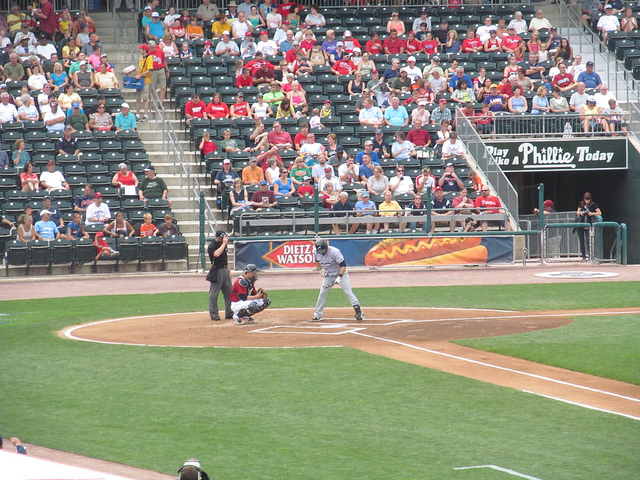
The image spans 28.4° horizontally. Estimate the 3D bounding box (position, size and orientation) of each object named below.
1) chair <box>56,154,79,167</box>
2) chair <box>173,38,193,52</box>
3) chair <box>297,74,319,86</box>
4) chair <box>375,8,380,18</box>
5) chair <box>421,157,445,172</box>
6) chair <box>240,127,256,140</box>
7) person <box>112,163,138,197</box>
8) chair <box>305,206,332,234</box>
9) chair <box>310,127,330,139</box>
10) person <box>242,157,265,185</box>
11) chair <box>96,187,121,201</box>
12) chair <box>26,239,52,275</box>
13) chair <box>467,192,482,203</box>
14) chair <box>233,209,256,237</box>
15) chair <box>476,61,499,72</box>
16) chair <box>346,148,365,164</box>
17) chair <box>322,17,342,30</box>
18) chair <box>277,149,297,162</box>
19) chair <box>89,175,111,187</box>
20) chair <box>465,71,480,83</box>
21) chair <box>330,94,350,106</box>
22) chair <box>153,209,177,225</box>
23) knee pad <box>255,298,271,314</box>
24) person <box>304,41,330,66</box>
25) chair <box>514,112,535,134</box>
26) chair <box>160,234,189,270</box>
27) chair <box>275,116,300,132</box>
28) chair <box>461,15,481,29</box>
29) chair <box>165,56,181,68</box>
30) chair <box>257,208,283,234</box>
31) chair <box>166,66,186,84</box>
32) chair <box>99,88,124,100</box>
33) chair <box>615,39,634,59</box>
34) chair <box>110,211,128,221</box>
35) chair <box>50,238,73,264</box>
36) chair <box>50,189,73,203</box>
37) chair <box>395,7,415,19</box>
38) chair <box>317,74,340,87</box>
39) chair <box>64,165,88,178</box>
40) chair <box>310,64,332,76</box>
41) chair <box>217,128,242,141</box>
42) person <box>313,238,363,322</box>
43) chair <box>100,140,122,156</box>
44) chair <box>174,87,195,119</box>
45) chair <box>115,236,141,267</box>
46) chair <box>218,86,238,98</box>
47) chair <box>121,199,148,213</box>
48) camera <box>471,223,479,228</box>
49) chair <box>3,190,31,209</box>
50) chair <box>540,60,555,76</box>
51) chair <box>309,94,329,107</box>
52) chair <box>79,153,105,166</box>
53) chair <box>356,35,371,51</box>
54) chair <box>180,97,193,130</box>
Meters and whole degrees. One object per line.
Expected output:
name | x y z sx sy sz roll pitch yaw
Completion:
chair | -8.392 -2.656 42.131 0.722 0.529 0.405 -1 5 -22
chair | -5.271 -7.443 48.916 0.606 0.702 0.583 1 44 -3
chair | -0.445 -5.924 47.256 0.615 0.561 0.492 -1 0 -1
chair | 2.419 -9.440 52.699 0.188 0.367 0.278 -4 1 8
chair | 3.915 -2.642 43.497 0.814 0.613 0.402 0 4 -2
chair | -2.477 -3.754 44.150 0.620 0.556 0.395 0 -5 -3
person | -6.433 -1.982 41.867 0.839 1.090 0.525 -4 1 -12
chair | -0.047 -0.686 41.339 0.958 1.141 0.866 1 -5 -3
chair | 0.046 -3.785 44.292 0.682 0.443 0.373 0 -1 -4
person | -2.249 -2.330 42.264 1.042 1.156 0.809 0 6 -12
chair | -6.897 -1.538 41.534 0.649 0.574 0.472 0 9 -7
chair | -8.758 0.359 39.581 0.731 0.986 0.337 -4 1 -16
chair | 5.147 -1.439 42.034 0.349 0.385 0.309 2 -2 10
chair | -2.551 -0.569 40.934 0.897 1.026 0.823 0 5 -7
chair | 6.468 -6.623 48.535 0.574 0.373 0.345 0 -5 0
chair | 1.229 -2.965 43.854 0.468 0.416 0.351 -1 -2 1
chair | 0.548 -8.807 51.531 0.555 0.652 0.579 -1 -5 1
chair | -1.075 -2.906 43.164 0.593 0.390 0.405 1 13 -1
chair | -7.267 -1.953 41.887 0.764 0.516 0.375 0 2 -21
chair | 5.827 -6.200 48.000 0.470 0.381 0.649 -3 0 7
chair | 0.754 -5.127 46.396 0.711 0.507 0.371 -1 9 -4
chair | -5.062 -0.788 41.334 0.683 0.599 0.491 0 3 -16
knee pad | -1.399 1.660 32.654 0.301 0.117 0.233 -42 -9 10
person | -0.036 -7.111 48.419 0.904 0.983 0.423 0 -9 -7
chair | 7.271 -4.124 44.830 0.836 0.788 0.454 2 25 5
chair | -4.598 0.417 40.876 1.018 1.163 0.971 7 -1 6
chair | -1.130 -4.080 44.629 0.574 0.604 0.470 -1 3 -8
chair | 6.298 -9.055 52.379 0.689 0.625 0.528 -1 -2 -1
chair | -5.543 -6.685 47.563 0.431 0.501 0.442 -4 10 -29
chair | -1.604 -0.650 40.983 0.847 1.010 0.818 0 0 -5
chair | -5.297 -6.111 47.036 0.674 0.841 0.647 -1 12 -10
chair | -7.469 -5.235 45.153 0.522 0.544 0.474 -2 6 -22
chair | 12.087 -7.445 49.530 0.694 0.883 0.797 0 7 10
chair | -6.528 -0.803 41.173 0.426 0.291 0.396 2 -19 -13
chair | -8.105 0.338 39.744 0.745 0.813 0.777 -1 5 -18
chair | -8.404 -1.472 41.065 0.502 0.448 0.472 0 12 -9
chair | 3.592 -9.435 52.648 0.659 0.777 0.650 2 12 4
chair | 0.317 -5.937 47.287 0.547 0.606 0.524 -1 7 -8
chair | -8.075 -2.289 41.898 0.782 0.530 0.387 0 2 -15
chair | 0.081 -6.365 47.646 0.516 0.546 0.483 0 0 -2
chair | -3.136 -3.713 44.228 0.841 0.431 0.564 -3 0 9
person | 0.390 1.023 32.471 1.227 2.029 0.665 -4 1 -1
chair | -7.171 -3.128 43.300 0.543 0.650 0.567 0 -1 -19
chair | -4.952 -5.027 46.110 1.082 1.412 1.031 0 6 -8
chair | -6.064 0.283 40.201 0.692 0.823 0.753 -1 18 -10
chair | -3.320 -5.392 45.951 0.664 0.427 0.446 0 13 -3
chair | -6.115 -1.143 41.412 0.785 0.530 0.446 1 0 -18
camera | 5.111 -0.499 41.492 0.127 0.133 0.467 -3 0 25
chair | -9.739 -1.319 40.761 0.598 0.663 0.579 2 -5 -23
chair | 8.721 -6.492 48.455 0.618 0.574 0.579 2 -35 7
chair | -0.033 -5.074 46.199 0.459 0.555 0.460 0 -1 -4
chair | -7.677 -2.719 42.391 0.722 0.515 0.419 -2 6 -24
chair | 1.762 -7.744 50.307 0.750 0.777 0.669 2 13 3
chair | -4.779 -4.551 45.404 0.431 1.113 0.664 -4 1 -26
